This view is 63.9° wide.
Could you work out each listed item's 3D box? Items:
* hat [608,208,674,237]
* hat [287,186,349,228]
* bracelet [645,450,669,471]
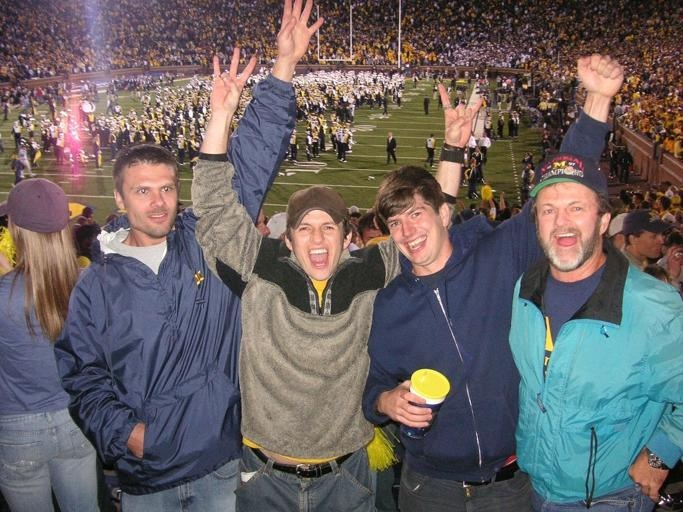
[{"bbox_3d":[3.709,-0.401,6.852,0.707,0.435,0.523,3,12,33],"label":"hat"},{"bbox_3d":[-0.143,-0.295,3.458,0.322,0.272,0.432,-1,5,-1],"label":"hat"},{"bbox_3d":[1.644,1.080,2.883,0.089,0.025,0.080,3,1,-17],"label":"bracelet"}]
